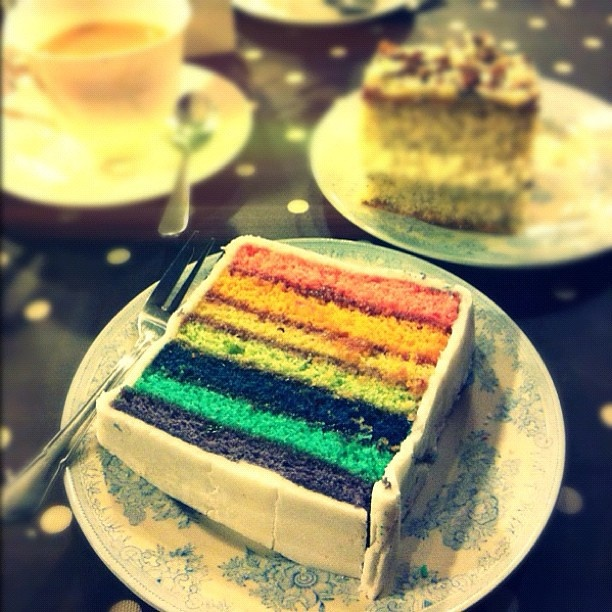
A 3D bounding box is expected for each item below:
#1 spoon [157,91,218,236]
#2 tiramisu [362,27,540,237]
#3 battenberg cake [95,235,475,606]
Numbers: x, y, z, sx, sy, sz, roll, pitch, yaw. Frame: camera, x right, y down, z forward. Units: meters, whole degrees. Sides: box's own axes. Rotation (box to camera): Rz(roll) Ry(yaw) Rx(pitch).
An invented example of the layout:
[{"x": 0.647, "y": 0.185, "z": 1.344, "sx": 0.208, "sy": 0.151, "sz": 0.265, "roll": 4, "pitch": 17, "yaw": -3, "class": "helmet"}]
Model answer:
[{"x": -0.179, "y": -0.217, "z": 1.174, "sx": 0.057, "sy": 0.035, "sz": 0.239, "roll": 7, "pitch": 71, "yaw": -3, "class": "spoon"}, {"x": 0.241, "y": -0.277, "z": 1.215, "sx": 0.318, "sy": 0.260, "sz": 0.258, "roll": -8, "pitch": 42, "yaw": 2, "class": "tiramisu"}, {"x": -0.015, "y": 0.109, "z": 1.042, "sx": 0.402, "sy": 0.151, "sz": 0.420, "roll": 25, "pitch": 57, "yaw": 20, "class": "battenberg cake"}]
